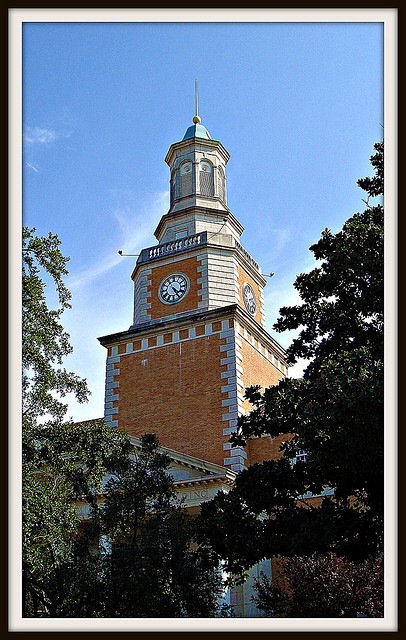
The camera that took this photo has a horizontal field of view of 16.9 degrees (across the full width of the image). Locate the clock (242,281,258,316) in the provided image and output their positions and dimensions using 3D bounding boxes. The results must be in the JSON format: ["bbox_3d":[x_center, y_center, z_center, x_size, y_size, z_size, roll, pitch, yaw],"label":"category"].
[{"bbox_3d":[1.325,-0.576,38.957,0.035,0.847,0.821,-11,-21,21],"label":"clock"}]

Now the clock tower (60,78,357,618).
[{"bbox_3d":[-0.158,-0.241,35.276,4.241,15.079,10.155,0,-17,-2],"label":"clock tower"}]

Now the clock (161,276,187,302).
[{"bbox_3d":[-0.760,-0.859,37.761,0.874,0.867,0.351,-15,-23,39],"label":"clock"}]
